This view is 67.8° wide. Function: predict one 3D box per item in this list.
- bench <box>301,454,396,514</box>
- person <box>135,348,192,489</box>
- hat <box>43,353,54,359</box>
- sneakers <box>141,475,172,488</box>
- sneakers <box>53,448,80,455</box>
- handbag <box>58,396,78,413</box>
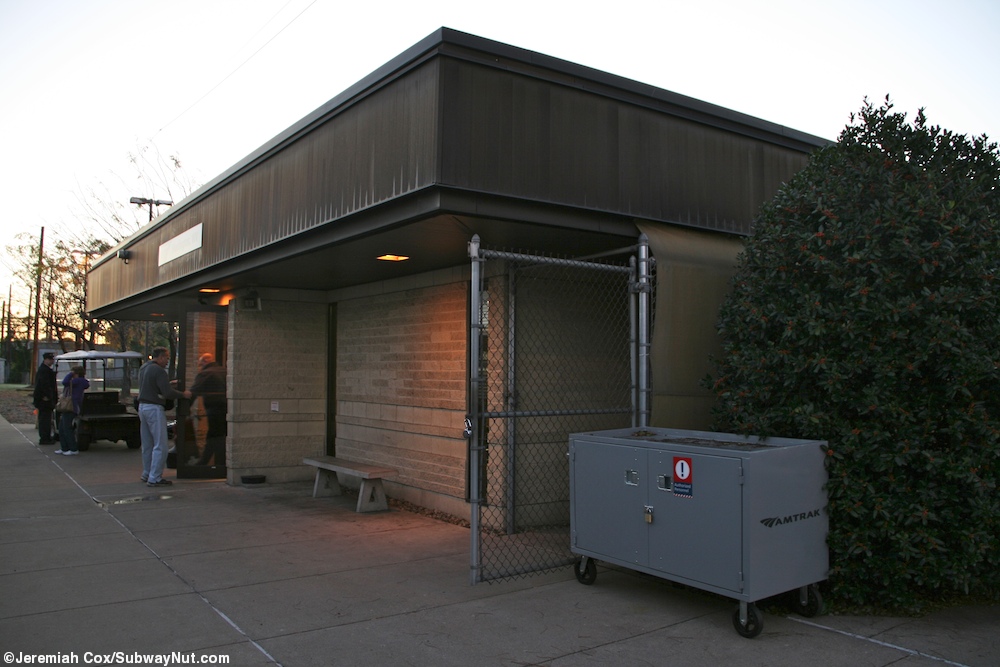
[{"bbox_3d":[-2.437,2.436,12.055,0.978,0.703,2.227,-1,2,-32],"label":"bench"},{"bbox_3d":[-6.122,1.533,13.348,0.611,2.445,0.670,-1,1,-34],"label":"person"},{"bbox_3d":[-10.824,0.581,17.801,0.250,0.182,0.260,1,-1,0],"label":"hat"},{"bbox_3d":[-6.138,2.725,13.343,0.536,0.242,0.201,0,0,-20],"label":"sneakers"},{"bbox_3d":[-10.007,2.800,17.247,0.503,0.235,0.177,1,-2,-4],"label":"sneakers"},{"bbox_3d":[-10.018,1.696,17.317,0.184,0.368,0.375,-2,-3,28],"label":"handbag"}]
